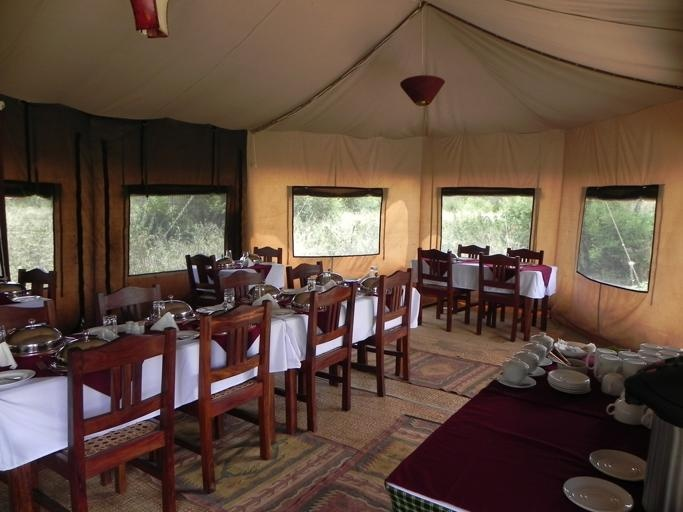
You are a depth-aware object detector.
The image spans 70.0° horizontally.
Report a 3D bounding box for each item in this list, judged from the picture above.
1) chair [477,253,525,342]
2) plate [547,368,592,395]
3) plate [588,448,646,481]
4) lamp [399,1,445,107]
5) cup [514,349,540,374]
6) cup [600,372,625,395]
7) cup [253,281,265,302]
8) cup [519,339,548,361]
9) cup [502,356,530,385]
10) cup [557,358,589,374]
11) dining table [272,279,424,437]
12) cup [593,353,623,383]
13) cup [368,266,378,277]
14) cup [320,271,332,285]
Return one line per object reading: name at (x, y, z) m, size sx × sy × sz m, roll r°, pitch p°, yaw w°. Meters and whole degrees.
chair at (1.879, 0.436, 5.828) m, size 0.505 × 0.993 × 0.680 m, roll 6°, pitch 12°, yaw 26°
plate at (1.039, 0.578, 2.260) m, size 0.116 × 0.034 × 0.114 m, roll -13°, pitch 15°, yaw -42°
plate at (1.009, 0.765, 1.781) m, size 0.185 × 0.027 × 0.194 m, roll 3°, pitch 11°, yaw 21°
lamp at (0.913, -2.199, 5.461) m, size 0.426 × 1.066 × 1.416 m, roll 2°, pitch 11°, yaw 9°
cup at (0.926, 0.527, 2.460) m, size 0.093 × 0.092 × 0.104 m, roll -2°, pitch 6°, yaw -17°
cup at (1.221, 0.583, 2.215) m, size 0.087 × 0.064 × 0.089 m, roll -5°, pitch 16°, yaw 2°
cup at (-0.660, 0.285, 3.901) m, size 0.105 × 0.183 × 0.098 m, roll 0°, pitch -8°, yaw 0°
cup at (1.023, 0.495, 2.575) m, size 0.088 × 0.065 × 0.088 m, roll -1°, pitch 11°, yaw 0°
cup at (0.813, 0.531, 2.317) m, size 0.113 × 0.105 × 0.115 m, roll -5°, pitch 12°, yaw 1°
cup at (1.145, 0.549, 2.418) m, size 0.084 × 0.037 × 0.078 m, roll -1°, pitch 2°, yaw 0°
dining table at (0.007, 0.658, 4.366) m, size 0.673 × 1.241 × 2.073 m, roll 16°, pitch 11°, yaw 29°
cup at (1.256, 0.530, 2.320) m, size 0.135 × 0.098 × 0.082 m, roll -8°, pitch 9°, yaw -39°
cup at (0.393, 0.193, 6.187) m, size 0.130 × 0.136 × 0.231 m, roll 1°, pitch -13°, yaw 6°
cup at (-0.151, 0.206, 4.418) m, size 0.081 × 0.068 × 0.095 m, roll -3°, pitch -1°, yaw 4°
